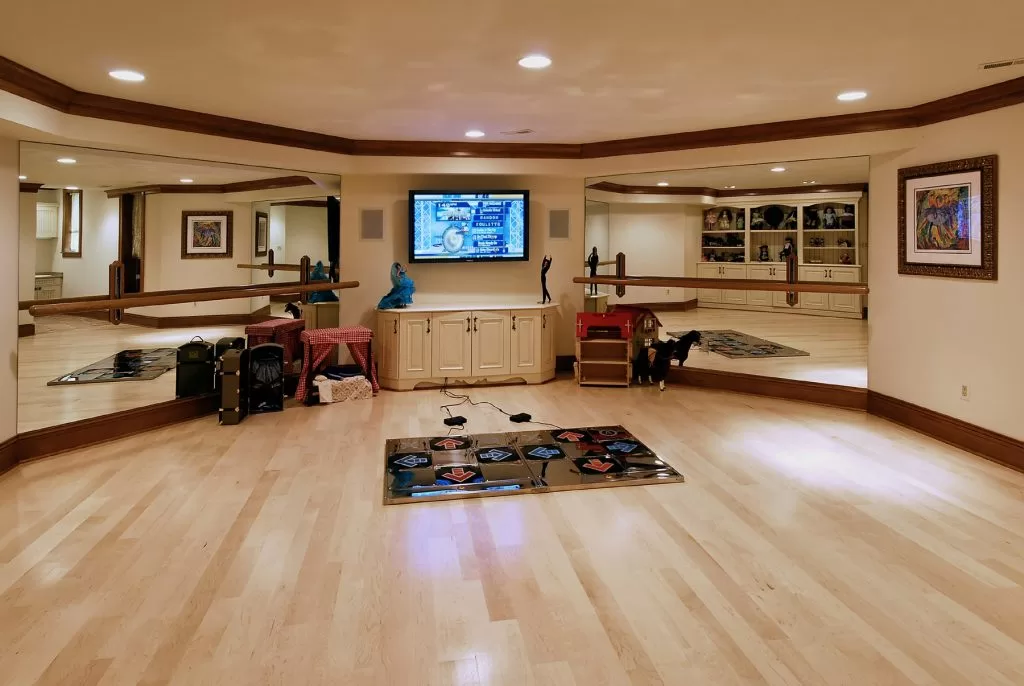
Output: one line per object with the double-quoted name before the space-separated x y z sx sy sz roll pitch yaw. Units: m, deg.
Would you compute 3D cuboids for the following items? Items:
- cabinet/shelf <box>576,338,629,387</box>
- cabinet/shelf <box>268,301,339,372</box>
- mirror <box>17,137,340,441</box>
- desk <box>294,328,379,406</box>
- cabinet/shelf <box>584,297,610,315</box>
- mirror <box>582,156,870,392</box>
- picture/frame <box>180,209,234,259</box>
"cabinet/shelf" 1.055 0.224 7.297 0.900 0.651 0.500 -1 -2 9
"cabinet/shelf" -2.253 -0.009 6.910 0.665 1.006 1.193 -1 6 -10
"mirror" -3.120 -0.460 5.599 3.241 2.099 0.127 -2 7 -42
"desk" -1.904 0.269 6.614 0.890 0.692 0.392 -1 1 -35
"cabinet/shelf" 1.024 -0.452 7.572 0.236 0.207 0.233 -1 -1 -42
"mirror" 2.764 -0.954 7.749 4.391 2.864 2.215 3 3 35
"picture/frame" -2.928 -1.025 5.842 0.535 0.511 0.037 3 -2 -37
